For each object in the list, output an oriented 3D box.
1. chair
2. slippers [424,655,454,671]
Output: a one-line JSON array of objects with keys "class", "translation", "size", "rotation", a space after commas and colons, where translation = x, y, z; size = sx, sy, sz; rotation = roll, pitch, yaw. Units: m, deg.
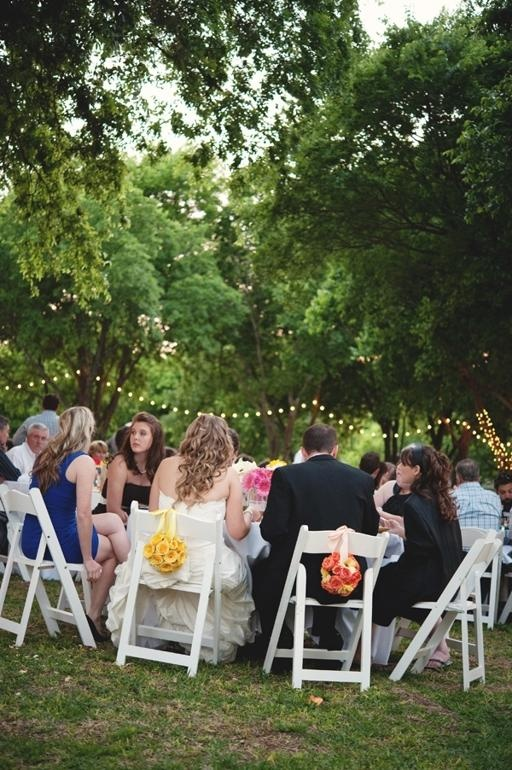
[{"class": "chair", "translation": [-0.096, 1.299, 5.311], "size": [3.098, 0.995, 1.198], "rotation": [3, -14, 14]}, {"class": "slippers", "translation": [1.239, 1.850, 5.661], "size": [0.122, 0.048, 0.118], "rotation": [5, -9, -36]}]
